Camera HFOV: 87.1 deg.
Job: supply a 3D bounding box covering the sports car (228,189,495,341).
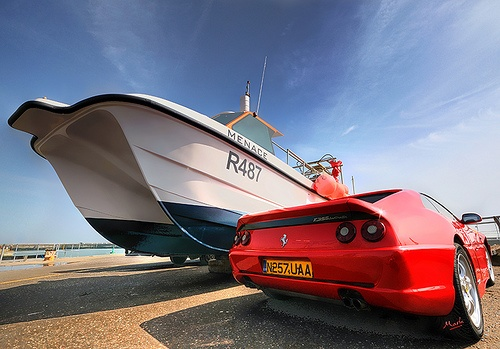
[{"bbox_3d":[1.373,1.067,3.163,3.175,1.670,1.365,0,-7,-7],"label":"sports car"}]
